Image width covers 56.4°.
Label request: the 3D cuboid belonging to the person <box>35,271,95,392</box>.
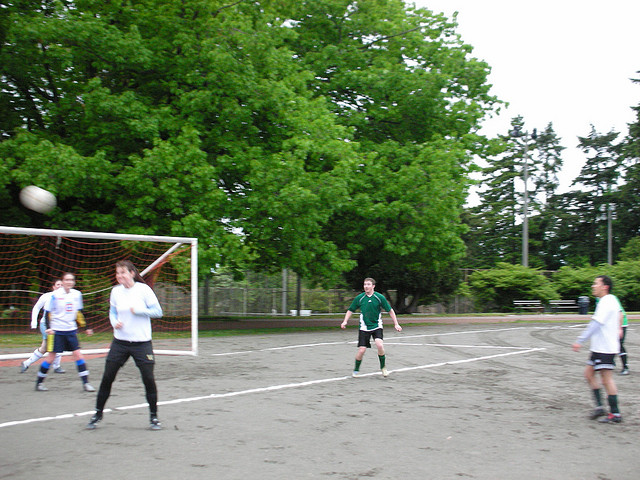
[{"bbox_3d":[-4.800,1.715,11.294,1.013,2.143,0.701,3,-8,-15],"label":"person"}]

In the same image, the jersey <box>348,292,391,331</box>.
[{"bbox_3d":[1.048,1.529,12.755,0.805,0.798,0.419,0,-7,7],"label":"jersey"}]

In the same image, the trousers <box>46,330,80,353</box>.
[{"bbox_3d":[-4.877,1.906,11.261,0.654,0.353,0.340,6,-18,-34],"label":"trousers"}]

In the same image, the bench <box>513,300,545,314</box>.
[{"bbox_3d":[12.707,4.092,36.579,1.071,0.780,2.581,-5,-7,41],"label":"bench"}]

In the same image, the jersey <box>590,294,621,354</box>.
[{"bbox_3d":[4.566,1.344,9.548,0.433,0.935,0.323,-1,-8,17],"label":"jersey"}]

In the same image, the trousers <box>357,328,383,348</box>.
[{"bbox_3d":[1.054,2.066,12.633,0.475,0.402,0.254,0,-7,4],"label":"trousers"}]

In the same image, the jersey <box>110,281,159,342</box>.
[{"bbox_3d":[-2.735,1.045,8.723,0.653,0.875,0.315,2,-8,-12],"label":"jersey"}]

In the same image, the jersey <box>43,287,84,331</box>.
[{"bbox_3d":[-4.915,1.321,11.385,0.668,0.813,0.343,3,-8,-16],"label":"jersey"}]
